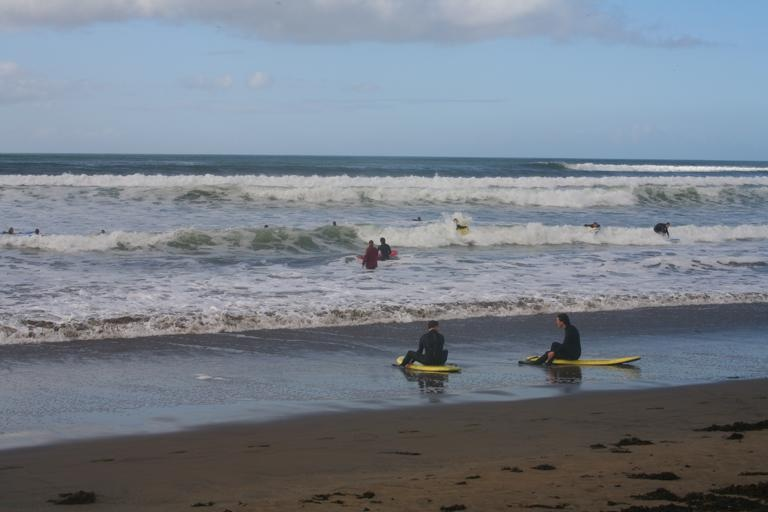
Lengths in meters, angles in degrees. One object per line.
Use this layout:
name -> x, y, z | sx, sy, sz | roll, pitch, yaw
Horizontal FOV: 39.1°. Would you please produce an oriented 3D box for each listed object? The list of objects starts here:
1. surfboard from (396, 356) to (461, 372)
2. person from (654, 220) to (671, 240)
surfboard -> 0.944, 2.421, 24.060 | 1.528, 0.131, 0.418 | 1, 5, 23
person -> 10.448, -0.944, 40.772 | 0.614, 0.558, 0.845 | 0, 6, 11
